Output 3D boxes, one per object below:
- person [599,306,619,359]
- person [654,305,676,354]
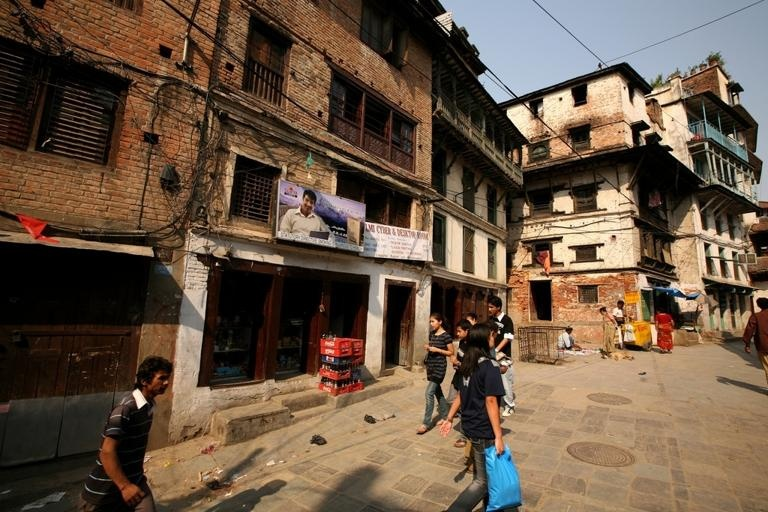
[{"bbox_3d":[9.633,3.239,19.257,0.594,2.064,0.861,-2,-11,9],"label":"person"},{"bbox_3d":[12.917,3.539,20.721,0.602,1.774,0.924,-6,-12,28],"label":"person"}]
